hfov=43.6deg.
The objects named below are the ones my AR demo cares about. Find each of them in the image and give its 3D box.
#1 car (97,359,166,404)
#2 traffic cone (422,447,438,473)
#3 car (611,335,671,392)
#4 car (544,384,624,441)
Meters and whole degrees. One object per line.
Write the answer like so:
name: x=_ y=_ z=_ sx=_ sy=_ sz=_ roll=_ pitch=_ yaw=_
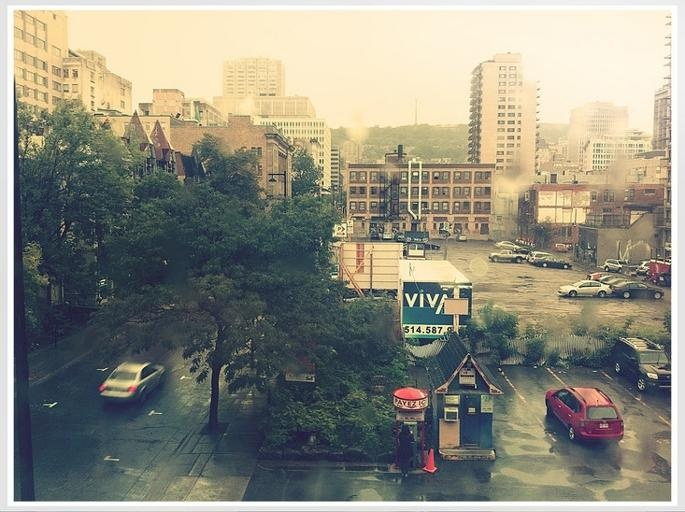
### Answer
car: x=-10.148 y=6.023 z=42.010 sx=1.973 sy=1.640 sz=4.692 roll=4 pitch=9 yaw=9
traffic cone: x=3.442 y=8.415 z=35.042 sx=0.748 sy=1.152 sz=0.756 roll=2 pitch=4 yaw=17
car: x=15.129 y=5.430 z=43.053 sx=2.164 sy=2.494 sz=2.128 roll=3 pitch=2 yaw=-25
car: x=10.722 y=6.949 z=38.544 sx=2.042 sy=2.171 sz=5.102 roll=0 pitch=10 yaw=-6
